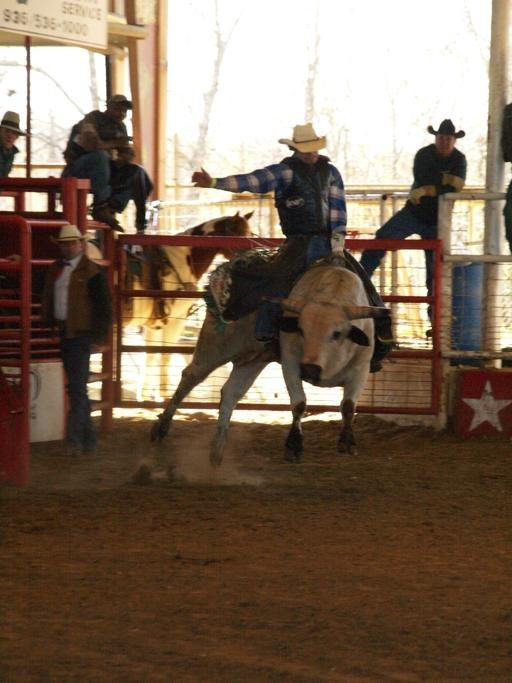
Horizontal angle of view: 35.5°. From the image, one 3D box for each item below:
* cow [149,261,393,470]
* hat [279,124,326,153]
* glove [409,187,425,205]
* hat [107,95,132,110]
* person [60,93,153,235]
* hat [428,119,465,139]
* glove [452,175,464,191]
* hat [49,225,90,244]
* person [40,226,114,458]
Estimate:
[{"bbox_3d":[0.177,0.122,6.072,1.082,1.548,1.737,-2,6,-36],"label":"cow"},{"bbox_3d":[0.361,-1.553,6.156,0.364,0.259,0.335,2,4,1],"label":"hat"},{"bbox_3d":[1.579,-1.429,7.919,0.133,0.052,0.171,-7,-7,29],"label":"glove"},{"bbox_3d":[-1.325,-2.325,7.775,0.224,0.062,0.181,-1,-7,8],"label":"hat"},{"bbox_3d":[-1.433,-1.705,7.597,0.770,1.333,0.986,2,5,3],"label":"person"},{"bbox_3d":[1.906,-2.115,7.928,0.348,0.120,0.349,5,-10,6],"label":"hat"},{"bbox_3d":[2.004,-1.546,7.957,0.096,0.149,0.242,3,5,17],"label":"glove"},{"bbox_3d":[-1.420,-0.818,6.130,0.210,0.149,0.279,1,4,0],"label":"hat"},{"bbox_3d":[-1.365,-0.009,6.241,0.417,1.774,0.409,4,5,20],"label":"person"}]
